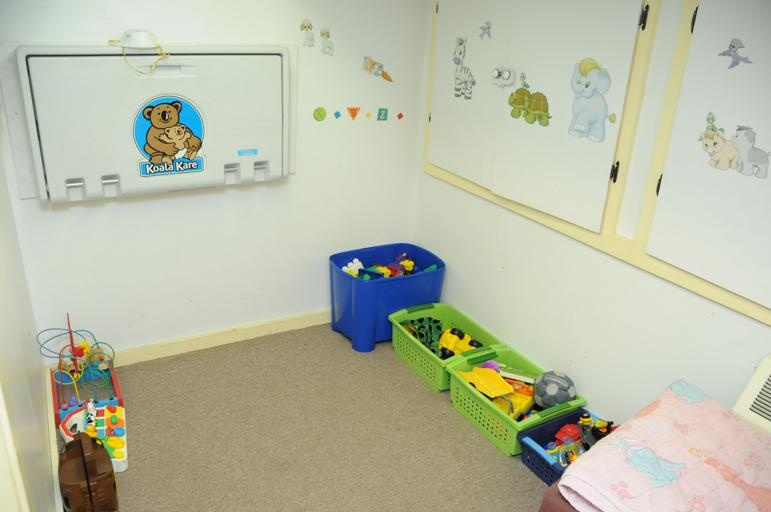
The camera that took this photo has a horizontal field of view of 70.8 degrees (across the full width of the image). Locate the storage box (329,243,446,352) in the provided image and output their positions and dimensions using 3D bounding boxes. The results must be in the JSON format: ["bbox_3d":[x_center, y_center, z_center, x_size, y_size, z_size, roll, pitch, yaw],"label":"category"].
[{"bbox_3d":[0.052,0.177,2.988,0.636,0.458,0.469,-16,30,-30],"label":"storage box"}]

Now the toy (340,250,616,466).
[{"bbox_3d":[0.325,0.489,2.737,0.565,0.508,1.580,-15,32,-24],"label":"toy"}]

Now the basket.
[{"bbox_3d":[0.486,0.558,2.533,0.461,0.280,1.122,-16,37,-30],"label":"basket"}]
